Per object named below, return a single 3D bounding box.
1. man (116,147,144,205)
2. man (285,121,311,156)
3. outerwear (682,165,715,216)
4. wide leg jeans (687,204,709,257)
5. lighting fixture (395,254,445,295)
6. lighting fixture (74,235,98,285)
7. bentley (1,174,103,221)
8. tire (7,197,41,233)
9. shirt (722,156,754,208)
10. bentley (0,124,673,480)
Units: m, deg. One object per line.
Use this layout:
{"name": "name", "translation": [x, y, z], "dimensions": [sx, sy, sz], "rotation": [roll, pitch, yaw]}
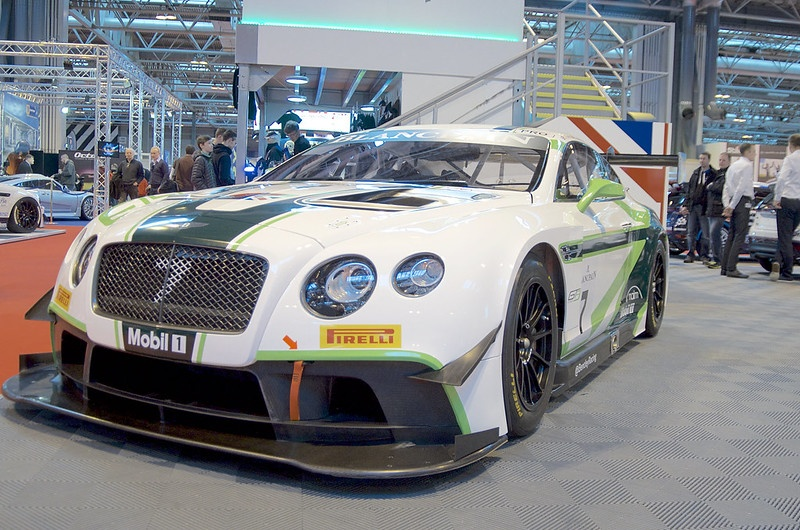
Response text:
{"name": "man", "translation": [-6.877, -2.084, 14.245], "dimensions": [0.651, 1.826, 0.507], "rotation": [0, 16, -21]}
{"name": "man", "translation": [-1.516, -1.924, 8.455], "dimensions": [0.330, 0.568, 0.648], "rotation": [-13, 0, -2]}
{"name": "outerwear", "translation": [6.320, -1.669, 11.719], "dimensions": [0.476, 0.953, 0.895], "rotation": [-1, -21, 32]}
{"name": "wide leg jeans", "translation": [6.345, -0.697, 11.816], "dimensions": [0.476, 1.387, 0.351], "rotation": [3, 19, 31]}
{"name": "lighting fixture", "translation": [0.093, 0.041, 2.514], "dimensions": [0.228, 0.177, 0.103], "rotation": [3, 8, 0]}
{"name": "lighting fixture", "translation": [-1.614, -0.017, 2.880], "dimensions": [0.049, 0.215, 0.211], "rotation": [17, -1, -39]}
{"name": "bentley", "translation": [-10.266, -2.033, 16.422], "dimensions": [1.657, 1.017, 3.057], "rotation": [8, 9, 37]}
{"name": "tire", "translation": [-7.769, -1.066, 11.502], "dimensions": [0.240, 0.678, 0.653], "rotation": [3, -11, 15]}
{"name": "shirt", "translation": [5.959, -1.459, 9.753], "dimensions": [0.422, 0.931, 0.486], "rotation": [7, 9, 30]}
{"name": "bentley", "translation": [0.346, -0.173, 3.522], "dimensions": [1.955, 1.083, 3.427], "rotation": [2, 3, 32]}
